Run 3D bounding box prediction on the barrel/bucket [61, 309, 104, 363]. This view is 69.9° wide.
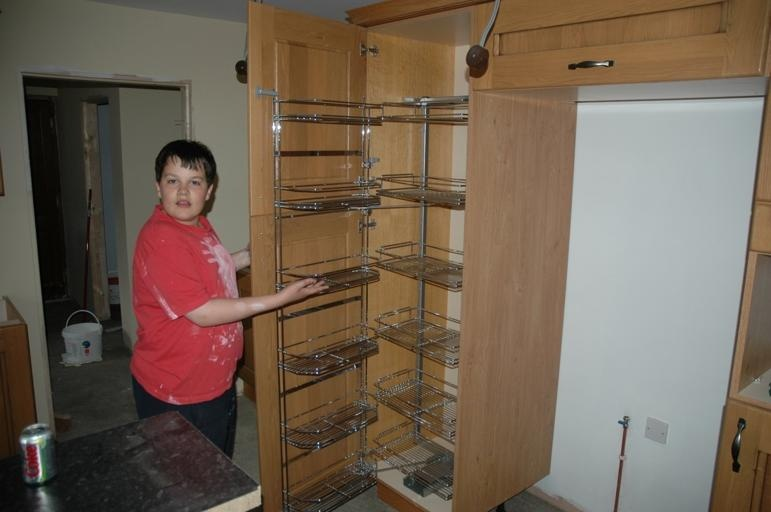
[{"bbox_3d":[-2.858,0.775,5.206,0.371,0.457,0.302,2,13,6],"label":"barrel/bucket"}]

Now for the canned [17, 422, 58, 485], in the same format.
[{"bbox_3d":[-1.242,0.712,1.973,0.137,0.174,0.110,11,17,41],"label":"canned"}]
